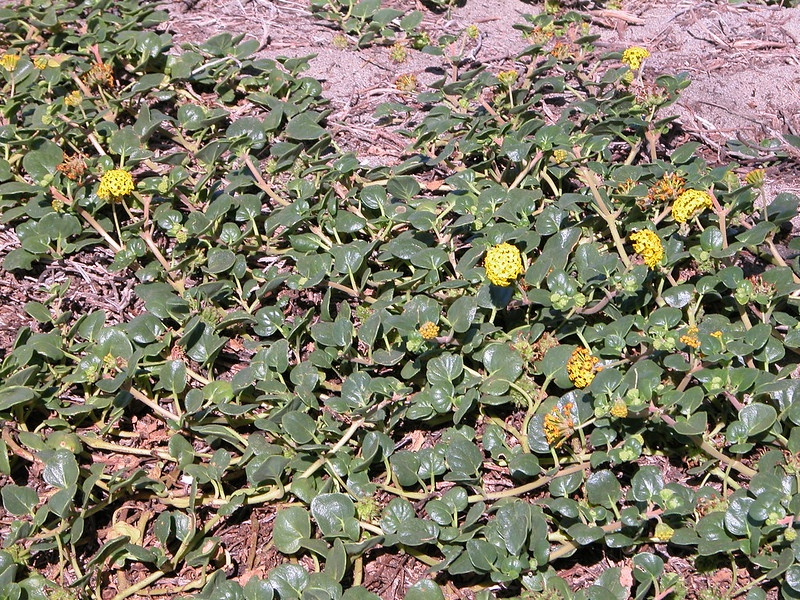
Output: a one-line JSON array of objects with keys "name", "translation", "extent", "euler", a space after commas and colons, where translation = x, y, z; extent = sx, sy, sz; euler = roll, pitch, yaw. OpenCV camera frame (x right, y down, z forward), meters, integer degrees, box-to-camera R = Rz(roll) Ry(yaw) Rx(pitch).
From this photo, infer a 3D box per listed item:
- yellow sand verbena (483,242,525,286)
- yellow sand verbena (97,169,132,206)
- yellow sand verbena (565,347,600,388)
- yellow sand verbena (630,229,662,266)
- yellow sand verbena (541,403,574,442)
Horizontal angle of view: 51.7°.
[{"name": "yellow sand verbena", "translation": [0.508, -0.181, 4.098], "extent": [0.170, 0.139, 0.170], "euler": [-5, 50, -5]}, {"name": "yellow sand verbena", "translation": [-1.608, -0.653, 4.696], "extent": [0.211, 0.068, 0.183], "euler": [-13, 75, -1]}, {"name": "yellow sand verbena", "translation": [0.883, 0.327, 3.992], "extent": [0.176, 0.058, 0.186], "euler": [1, 83, 4]}, {"name": "yellow sand verbena", "translation": [1.238, -0.294, 4.175], "extent": [0.186, 0.065, 0.180], "euler": [21, 40, -37]}, {"name": "yellow sand verbena", "translation": [0.762, 0.582, 3.933], "extent": [0.084, 0.171, 0.168], "euler": [11, 33, -24]}]
